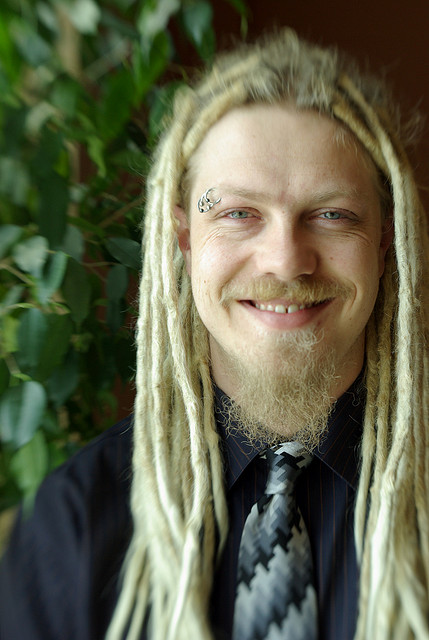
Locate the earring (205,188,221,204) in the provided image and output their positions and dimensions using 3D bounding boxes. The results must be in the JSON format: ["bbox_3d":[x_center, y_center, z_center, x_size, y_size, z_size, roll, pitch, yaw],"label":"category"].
[{"bbox_3d":[-0.004,-0.201,0.984,0.006,0.025,0.032,-8,16,-41],"label":"earring"}]

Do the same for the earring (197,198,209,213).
[{"bbox_3d":[-0.020,-0.190,1.005,0.005,0.018,0.019,-4,0,-37],"label":"earring"}]
